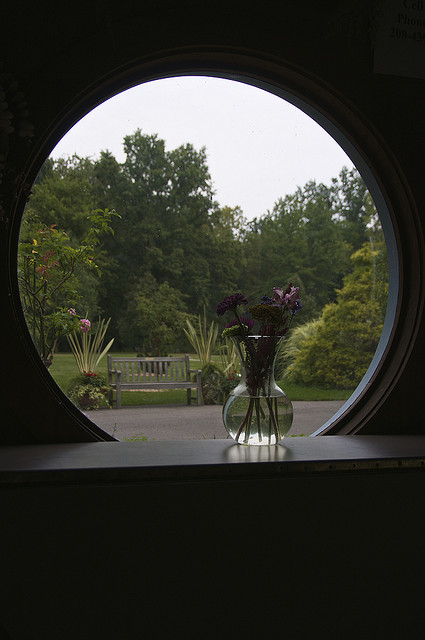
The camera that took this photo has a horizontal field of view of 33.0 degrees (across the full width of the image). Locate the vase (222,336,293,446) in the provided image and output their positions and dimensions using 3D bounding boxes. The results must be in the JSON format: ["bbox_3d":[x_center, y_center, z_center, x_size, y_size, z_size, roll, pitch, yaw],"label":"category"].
[{"bbox_3d":[0.100,0.151,1.557,0.145,0.235,0.065,2,6,1],"label":"vase"}]

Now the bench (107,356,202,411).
[{"bbox_3d":[-0.662,0.710,8.140,1.047,0.528,0.360,2,2,-30],"label":"bench"}]

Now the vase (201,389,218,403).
[{"bbox_3d":[-0.042,0.940,8.798,0.210,0.153,0.207,-5,-6,24],"label":"vase"}]

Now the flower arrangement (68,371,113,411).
[{"bbox_3d":[-1.262,0.784,7.858,0.590,0.377,0.562,13,-15,-5],"label":"flower arrangement"}]
